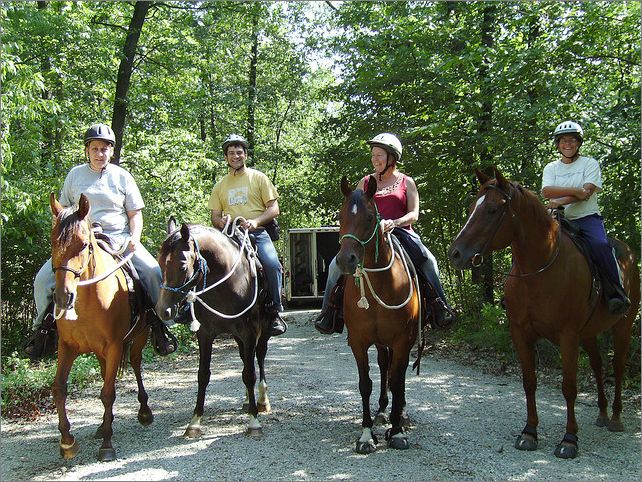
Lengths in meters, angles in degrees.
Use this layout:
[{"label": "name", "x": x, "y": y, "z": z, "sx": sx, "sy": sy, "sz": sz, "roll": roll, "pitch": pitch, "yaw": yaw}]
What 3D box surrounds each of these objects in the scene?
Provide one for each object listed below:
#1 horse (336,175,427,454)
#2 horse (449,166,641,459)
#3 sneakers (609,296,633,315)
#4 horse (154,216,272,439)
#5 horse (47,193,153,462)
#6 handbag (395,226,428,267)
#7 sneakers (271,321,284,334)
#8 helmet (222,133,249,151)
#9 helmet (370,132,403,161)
[{"label": "horse", "x": 0.839, "y": 1.026, "z": 9.136, "sx": 1.007, "sy": 3.912, "sz": 1.885, "roll": 4, "pitch": 9, "yaw": 34}, {"label": "horse", "x": 3.411, "y": 0.935, "z": 9.354, "sx": 3.367, "sy": 4.003, "sz": 1.284, "roll": -4, "pitch": 8, "yaw": -29}, {"label": "sneakers", "x": 4.496, "y": 0.969, "z": 9.542, "sx": 0.227, "sy": 0.296, "sz": 0.293, "roll": -15, "pitch": 4, "yaw": 0}, {"label": "horse", "x": -1.532, "y": 1.268, "z": 9.719, "sx": 1.113, "sy": 3.320, "sz": 2.300, "roll": 4, "pitch": 9, "yaw": 31}, {"label": "horse", "x": -3.265, "y": 1.159, "z": 9.265, "sx": 0.938, "sy": 3.741, "sz": 1.664, "roll": 2, "pitch": 8, "yaw": 22}, {"label": "handbag", "x": 1.377, "y": 0.085, "z": 9.903, "sx": 0.245, "sy": 0.631, "sz": 0.446, "roll": -36, "pitch": 0, "yaw": -29}, {"label": "sneakers", "x": -0.726, "y": 1.474, "z": 10.684, "sx": 0.245, "sy": 0.268, "sz": 0.154, "roll": -5, "pitch": 4, "yaw": -13}, {"label": "helmet", "x": -1.467, "y": -1.653, "z": 10.676, "sx": 0.391, "sy": 0.290, "sz": 0.454, "roll": -2, "pitch": 8, "yaw": -12}, {"label": "helmet", "x": 1.043, "y": -1.477, "z": 9.798, "sx": 0.502, "sy": 0.277, "sz": 0.350, "roll": 31, "pitch": -12, "yaw": -23}]
